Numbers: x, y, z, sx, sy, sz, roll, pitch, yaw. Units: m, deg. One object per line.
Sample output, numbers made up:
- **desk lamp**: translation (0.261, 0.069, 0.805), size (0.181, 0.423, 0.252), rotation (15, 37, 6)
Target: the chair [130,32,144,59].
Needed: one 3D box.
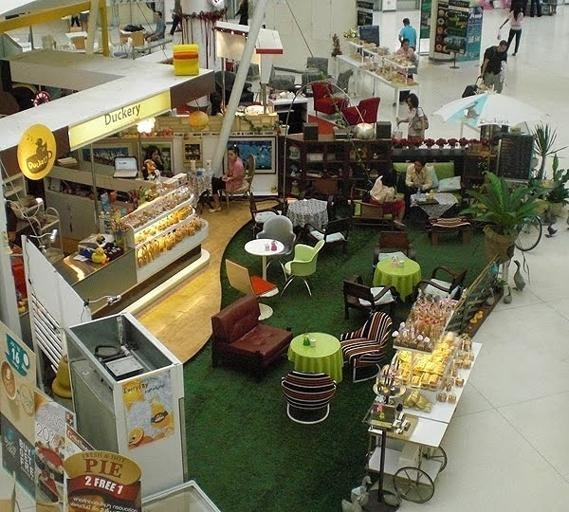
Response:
- **chair**: translation (-5.714, -8.270, 18.879), size (0.531, 0.855, 0.728), rotation (-9, 26, -14)

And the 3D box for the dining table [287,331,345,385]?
- **dining table**: translation (0.438, 1.267, 6.688), size (0.691, 0.538, 0.718), rotation (-4, 33, -8)

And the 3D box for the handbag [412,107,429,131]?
- **handbag**: translation (3.540, -3.560, 12.622), size (0.314, 0.574, 0.664), rotation (7, 26, 18)

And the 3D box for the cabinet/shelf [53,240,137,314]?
- **cabinet/shelf**: translation (-2.691, 0.301, 6.975), size (0.493, 0.607, 0.926), rotation (26, 45, 23)

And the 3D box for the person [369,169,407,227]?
- **person**: translation (2.366, -1.363, 11.016), size (0.764, 1.007, 1.273), rotation (8, 26, 20)

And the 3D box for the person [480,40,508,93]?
- **person**: translation (6.489, -5.849, 15.111), size (0.687, 1.547, 1.235), rotation (7, 26, 19)

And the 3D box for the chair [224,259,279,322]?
- **chair**: translation (-0.558, 0.610, 8.180), size (0.553, 0.865, 0.520), rotation (-28, 45, -28)

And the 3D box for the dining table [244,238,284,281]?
- **dining table**: translation (-0.296, 0.049, 9.106), size (0.726, 0.814, 0.732), rotation (-1, 42, 0)

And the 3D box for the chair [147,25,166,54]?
- **chair**: translation (-5.414, -9.255, 20.466), size (0.751, 1.237, 3.391), rotation (-7, 25, -11)

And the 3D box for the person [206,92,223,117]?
- **person**: translation (-1.925, -4.191, 13.415), size (0.368, 0.602, 1.887), rotation (-5, 25, -7)

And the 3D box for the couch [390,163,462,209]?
- **couch**: translation (3.323, -1.589, 11.625), size (1.704, 1.158, 0.966), rotation (-6, 32, -9)

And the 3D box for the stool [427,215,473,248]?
- **stool**: translation (3.531, -0.621, 10.295), size (0.916, 0.446, 0.607), rotation (-1, 35, 5)

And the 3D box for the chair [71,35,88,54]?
- **chair**: translation (-7.056, -7.315, 16.669), size (0.491, 0.490, 0.567), rotation (-13, 27, -24)

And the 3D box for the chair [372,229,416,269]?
- **chair**: translation (2.070, -0.224, 9.311), size (0.759, 0.991, 0.732), rotation (0, 27, 4)

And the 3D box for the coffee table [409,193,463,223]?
- **coffee table**: translation (3.290, -1.137, 10.969), size (0.775, 0.302, 0.771), rotation (2, 24, 6)

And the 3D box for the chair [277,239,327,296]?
- **chair**: translation (0.407, 0.113, 9.182), size (0.929, 1.195, 1.025), rotation (5, 35, 2)

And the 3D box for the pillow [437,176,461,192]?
- **pillow**: translation (3.824, -1.642, 11.247), size (0.395, 0.127, 0.418), rotation (0, 44, 24)

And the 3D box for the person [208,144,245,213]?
- **person**: translation (-1.378, -1.853, 11.521), size (0.854, 1.499, 0.556), rotation (-3, 25, -3)

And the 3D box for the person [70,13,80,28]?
- **person**: translation (-8.468, -9.546, 19.666), size (0.372, 0.397, 1.167), rotation (-10, 26, -18)

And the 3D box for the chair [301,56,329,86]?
- **chair**: translation (1.042, -6.407, 16.879), size (0.893, 0.854, 1.343), rotation (-1, 25, 2)

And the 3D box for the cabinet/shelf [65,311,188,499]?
- **cabinet/shelf**: translation (-1.436, 1.360, 4.315), size (0.558, 1.564, 0.879), rotation (-20, 42, -26)

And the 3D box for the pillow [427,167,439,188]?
- **pillow**: translation (3.453, -1.850, 11.322), size (0.179, 0.452, 0.464), rotation (-14, -8, 38)

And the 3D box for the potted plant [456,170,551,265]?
- **potted plant**: translation (4.324, -0.682, 9.476), size (1.695, 1.659, 1.446), rotation (0, 29, -4)

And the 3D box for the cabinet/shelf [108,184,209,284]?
- **cabinet/shelf**: translation (-2.202, -0.335, 8.402), size (0.570, 0.932, 1.629), rotation (17, 37, 27)

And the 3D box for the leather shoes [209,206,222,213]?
- **leather shoes**: translation (-1.670, -1.105, 11.573), size (0.215, 0.085, 0.123), rotation (0, 21, 4)

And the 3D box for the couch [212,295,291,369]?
- **couch**: translation (-0.486, 1.080, 7.139), size (1.030, 0.887, 1.123), rotation (10, 28, 21)

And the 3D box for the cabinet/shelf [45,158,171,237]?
- **cabinet/shelf**: translation (-3.349, -1.082, 9.117), size (1.679, 1.113, 0.482), rotation (3, 18, 7)

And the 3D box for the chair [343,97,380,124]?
- **chair**: translation (2.310, -4.358, 14.670), size (1.019, 0.761, 0.797), rotation (1, 25, 5)
